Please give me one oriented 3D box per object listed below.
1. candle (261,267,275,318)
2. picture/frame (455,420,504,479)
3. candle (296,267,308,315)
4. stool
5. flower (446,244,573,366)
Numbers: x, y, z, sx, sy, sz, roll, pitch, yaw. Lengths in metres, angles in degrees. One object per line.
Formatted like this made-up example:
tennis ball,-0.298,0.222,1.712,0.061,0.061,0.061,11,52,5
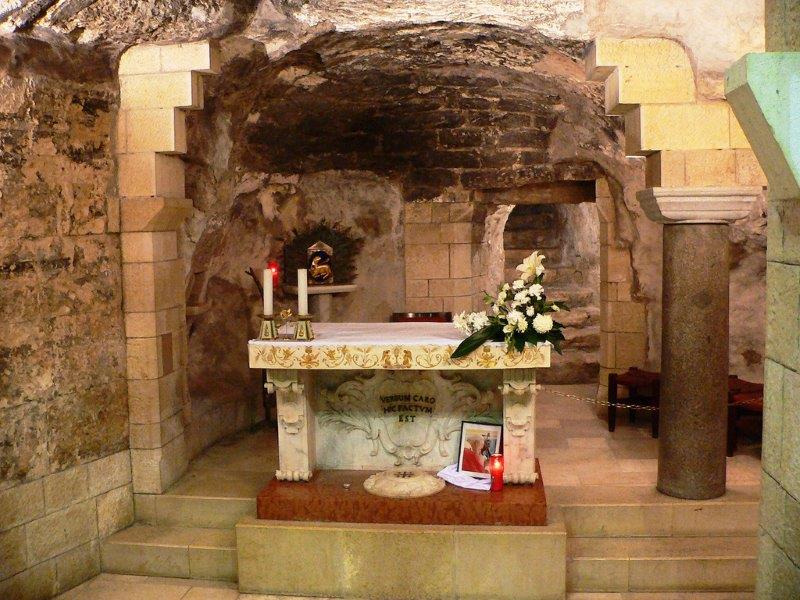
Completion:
candle,-0.805,-0.046,4.968,0.055,0.293,0.203,0,0,-13
picture/frame,0.511,0.946,5.104,0.377,0.460,0.033,2,-2,13
candle,-0.597,-0.047,4.986,0.053,0.285,0.119,0,0,-12
stool,2.246,0.865,6.608,1.000,0.557,1.638,0,0,-24
flower,0.704,0.085,4.960,0.852,0.519,0.823,-13,20,9
